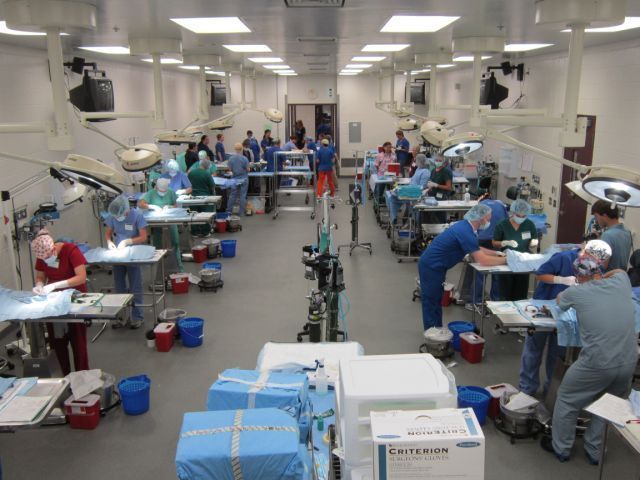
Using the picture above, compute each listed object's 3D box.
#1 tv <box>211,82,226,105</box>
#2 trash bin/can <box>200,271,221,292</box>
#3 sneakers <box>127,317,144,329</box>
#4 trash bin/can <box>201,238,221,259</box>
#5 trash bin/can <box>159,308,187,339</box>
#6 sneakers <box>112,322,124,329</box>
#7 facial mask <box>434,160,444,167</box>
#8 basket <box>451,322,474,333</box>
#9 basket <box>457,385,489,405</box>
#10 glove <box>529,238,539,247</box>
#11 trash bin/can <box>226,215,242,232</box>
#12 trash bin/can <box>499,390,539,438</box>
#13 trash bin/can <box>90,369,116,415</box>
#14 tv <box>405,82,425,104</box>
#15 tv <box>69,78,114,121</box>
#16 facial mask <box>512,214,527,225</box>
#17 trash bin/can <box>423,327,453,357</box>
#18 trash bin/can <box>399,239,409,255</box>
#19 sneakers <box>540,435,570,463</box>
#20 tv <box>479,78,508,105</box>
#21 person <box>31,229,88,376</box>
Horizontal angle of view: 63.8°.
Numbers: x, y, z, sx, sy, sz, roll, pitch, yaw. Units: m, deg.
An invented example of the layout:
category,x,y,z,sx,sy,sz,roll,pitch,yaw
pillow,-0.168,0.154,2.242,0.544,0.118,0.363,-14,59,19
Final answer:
category,x,y,z,sx,sy,sz,roll,pitch,yaw
tv,-3.309,-4.676,16.465,0.445,0.733,0.957,-7,13,-16
trash bin/can,-1.621,0.605,7.631,0.296,0.214,0.303,13,20,37
sneakers,-2.363,1.064,6.471,0.084,0.103,0.232,2,20,-4
trash bin/can,-1.954,0.149,9.132,0.298,0.317,0.314,-1,9,-5
trash bin/can,-1.888,1.068,6.481,0.331,0.317,0.308,0,7,2
sneakers,-2.581,1.080,6.504,0.153,0.069,0.058,6,4,-13
facial mask,2.170,-1.390,9.349,0.105,0.110,0.134,2,5,20
basket,1.636,0.998,5.909,0.153,0.063,0.146,-9,10,-42
basket,1.401,1.423,4.675,0.220,0.159,0.235,6,18,26
glove,2.561,0.032,6.128,0.078,0.091,0.080,-3,18,2
trash bin/can,-1.810,-0.342,10.785,0.295,0.282,0.307,8,14,30
trash bin/can,1.762,1.566,4.599,0.324,0.360,0.320,-5,9,23
trash bin/can,-2.037,1.473,4.988,0.308,0.257,0.315,5,22,-6
tv,3.054,-4.577,16.058,0.331,0.671,0.812,3,14,25
tv,-3.198,-2.046,7.187,0.591,0.635,0.494,3,15,29
facial mask,2.399,-0.248,6.170,0.122,0.091,0.156,0,6,6
trash bin/can,1.281,1.109,5.704,0.299,0.289,0.302,-10,22,-19
trash bin/can,1.421,0.114,9.035,0.214,0.243,0.219,-4,18,-5
sneakers,1.990,1.739,4.343,0.084,0.113,0.256,-13,33,-6
tv,2.947,-2.364,8.640,0.439,0.648,0.617,2,17,14
person,-2.621,0.651,5.249,0.493,1.492,0.627,-10,15,-26
